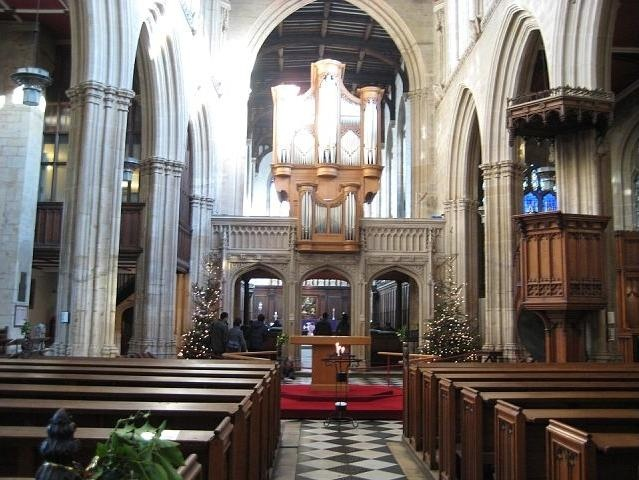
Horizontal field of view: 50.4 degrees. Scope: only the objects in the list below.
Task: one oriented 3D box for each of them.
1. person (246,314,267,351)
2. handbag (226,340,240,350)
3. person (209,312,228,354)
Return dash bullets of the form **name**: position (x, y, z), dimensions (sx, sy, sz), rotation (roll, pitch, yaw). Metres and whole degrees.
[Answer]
- **person**: position (-1.449, 2.233, 16.211), dimensions (0.401, 0.882, 1.091), rotation (1, -6, -4)
- **handbag**: position (-1.737, 2.147, 13.706), dimensions (0.256, 0.221, 0.178), rotation (1, -15, -5)
- **person**: position (-2.015, 1.899, 13.756), dimensions (0.367, 0.860, 1.376), rotation (2, -6, -9)
